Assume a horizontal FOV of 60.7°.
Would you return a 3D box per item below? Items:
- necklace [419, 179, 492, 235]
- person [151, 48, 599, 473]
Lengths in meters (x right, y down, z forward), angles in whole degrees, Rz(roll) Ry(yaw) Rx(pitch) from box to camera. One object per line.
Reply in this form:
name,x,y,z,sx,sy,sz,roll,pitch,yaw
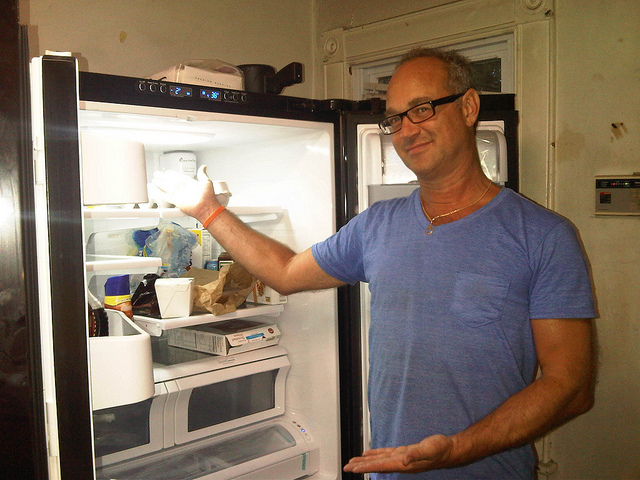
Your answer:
necklace,0.355,-0.090,1.451,0.194,0.136,0.128,-1,5,17
person,0.165,0.040,1.422,0.911,1.068,0.474,1,6,39
